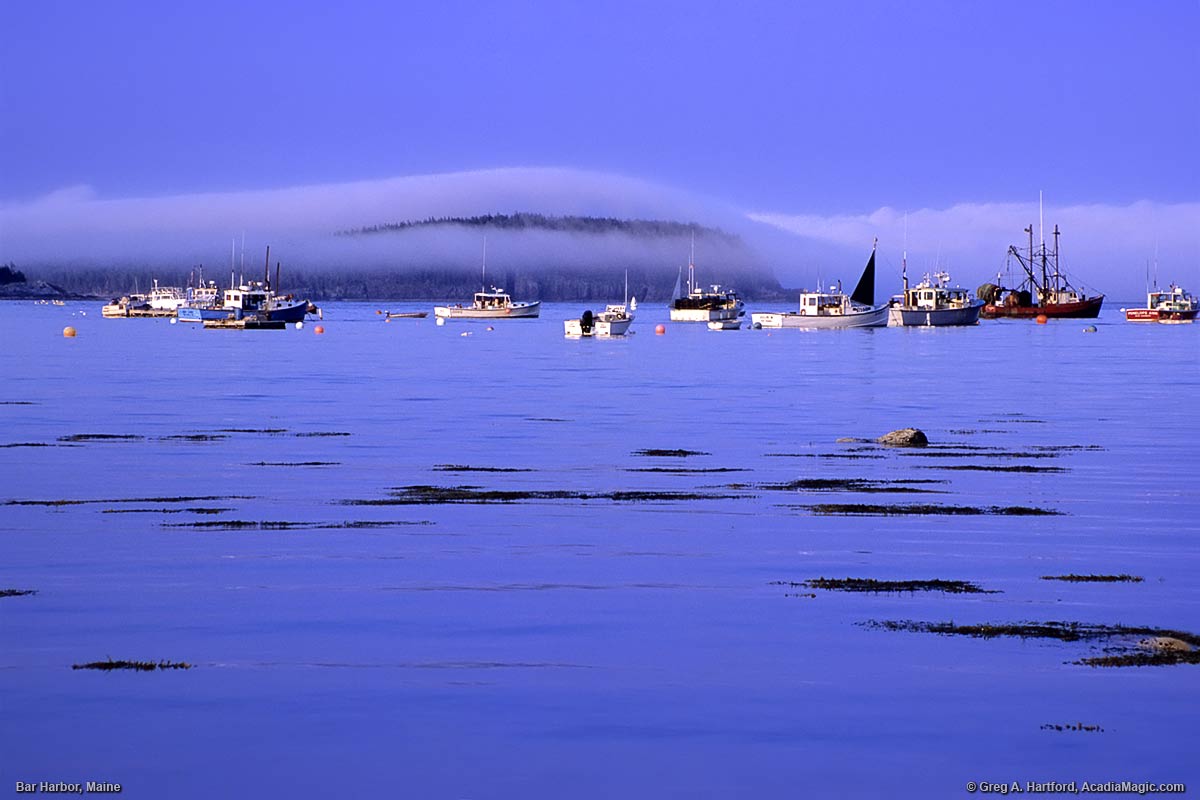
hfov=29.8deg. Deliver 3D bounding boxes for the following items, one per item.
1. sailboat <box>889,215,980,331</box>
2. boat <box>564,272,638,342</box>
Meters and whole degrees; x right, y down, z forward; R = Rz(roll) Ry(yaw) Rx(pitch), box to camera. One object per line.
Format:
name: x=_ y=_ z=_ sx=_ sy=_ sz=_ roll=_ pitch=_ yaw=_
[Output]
sailboat: x=25.471 y=-7.092 z=172.472 sx=4.655 sy=8.143 sz=6.107 roll=-1 pitch=23 yaw=0
boat: x=0.301 y=-5.753 z=169.823 sx=3.160 sy=4.264 sz=11.640 roll=6 pitch=12 yaw=20
